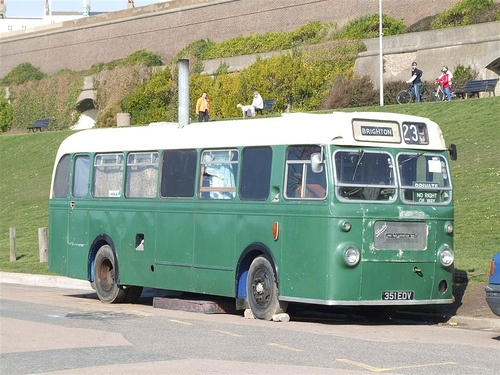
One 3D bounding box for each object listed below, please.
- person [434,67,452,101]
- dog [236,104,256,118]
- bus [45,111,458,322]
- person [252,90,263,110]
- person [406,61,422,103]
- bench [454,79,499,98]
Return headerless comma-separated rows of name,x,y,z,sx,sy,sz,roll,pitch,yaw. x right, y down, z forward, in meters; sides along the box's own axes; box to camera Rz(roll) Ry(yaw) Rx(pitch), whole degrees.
person,8.505,-4.538,38.074,0.595,1.480,3.242,-1,-1,12
dog,-0.100,-4.102,46.969,0.493,0.901,1.431,-9,10,-32
bus,-0.558,0.576,20.056,10.525,3.459,2.902,-2,-1,40
person,0.492,-4.678,46.432,0.736,1.244,0.971,0,-1,-13
person,7.364,-4.664,38.660,0.552,1.683,1.939,-1,-1,11
bench,10.199,-4.458,39.217,1.909,0.800,2.335,-2,-1,5
